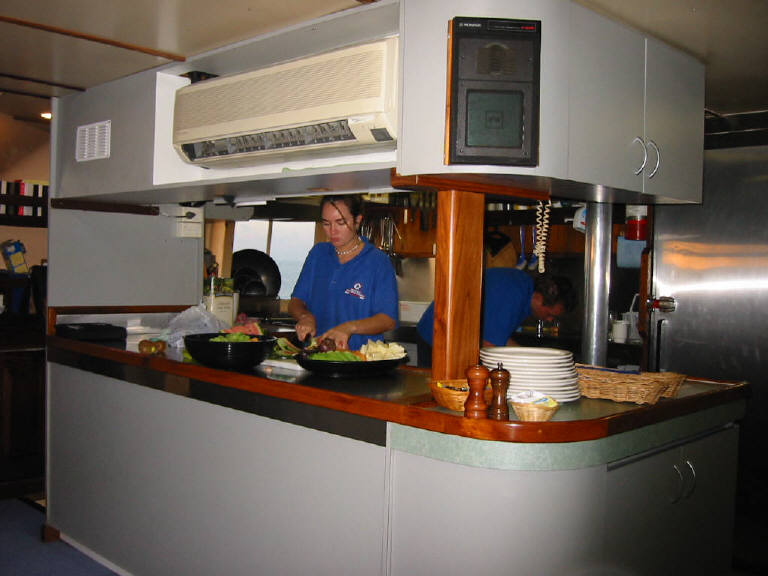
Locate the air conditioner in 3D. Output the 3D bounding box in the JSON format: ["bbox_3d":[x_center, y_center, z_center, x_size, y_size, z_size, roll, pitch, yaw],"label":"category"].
[{"bbox_3d":[-0.553,-0.863,3.216,1.377,0.487,0.365,2,-6,26],"label":"air conditioner"}]

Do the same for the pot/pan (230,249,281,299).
[{"bbox_3d":[-1.353,-0.143,6.559,0.511,0.508,0.487,-1,5,-10],"label":"pot/pan"}]

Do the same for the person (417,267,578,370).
[{"bbox_3d":[0.788,0.151,3.907,0.824,0.542,1.138,-2,5,-19],"label":"person"}]

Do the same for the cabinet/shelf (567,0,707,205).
[{"bbox_3d":[1.153,-0.871,2.851,0.689,0.615,0.263,4,2,-31],"label":"cabinet/shelf"}]

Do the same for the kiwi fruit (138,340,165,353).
[{"bbox_3d":[-1.258,0.326,3.370,0.131,0.069,0.057,-2,5,-23],"label":"kiwi fruit"}]

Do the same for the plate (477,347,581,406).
[{"bbox_3d":[0.640,0.378,2.621,0.386,0.220,0.342,-2,5,-21],"label":"plate"}]

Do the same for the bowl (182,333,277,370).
[{"bbox_3d":[-0.792,0.327,3.070,0.445,0.157,0.195,1,5,12],"label":"bowl"}]

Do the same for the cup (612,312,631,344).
[{"bbox_3d":[1.866,0.317,4.922,0.209,0.223,0.186,1,2,-8],"label":"cup"}]

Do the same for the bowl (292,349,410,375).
[{"bbox_3d":[-0.148,0.378,3.007,0.546,0.118,0.307,-1,5,-10],"label":"bowl"}]

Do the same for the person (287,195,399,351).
[{"bbox_3d":[-0.226,-0.072,3.581,0.628,0.922,0.965,-1,5,-10],"label":"person"}]
